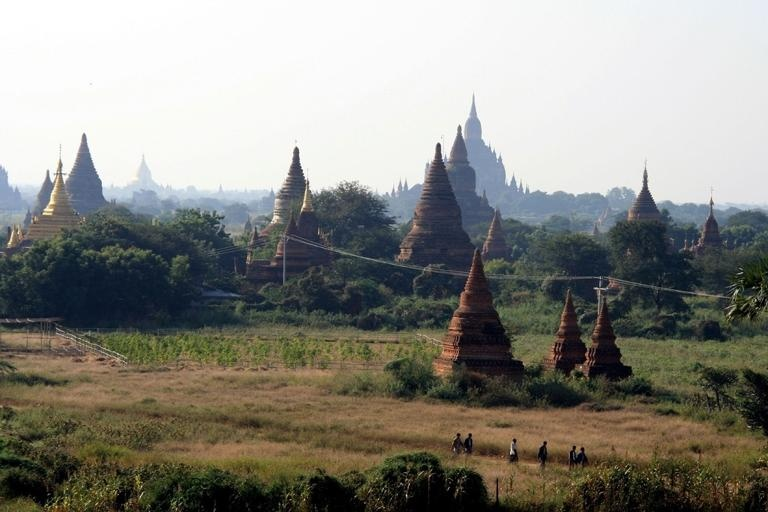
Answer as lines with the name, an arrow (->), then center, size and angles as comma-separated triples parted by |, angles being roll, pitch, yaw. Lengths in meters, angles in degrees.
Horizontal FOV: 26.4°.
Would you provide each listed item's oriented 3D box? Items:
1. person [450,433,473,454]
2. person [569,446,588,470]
person -> 3.392, 8.175, 72.447 | 0.936, 0.945, 0.259 | 5, -9, -36
person -> 8.432, 8.657, 71.155 | 0.556, 1.493, 0.829 | -5, 7, -9
